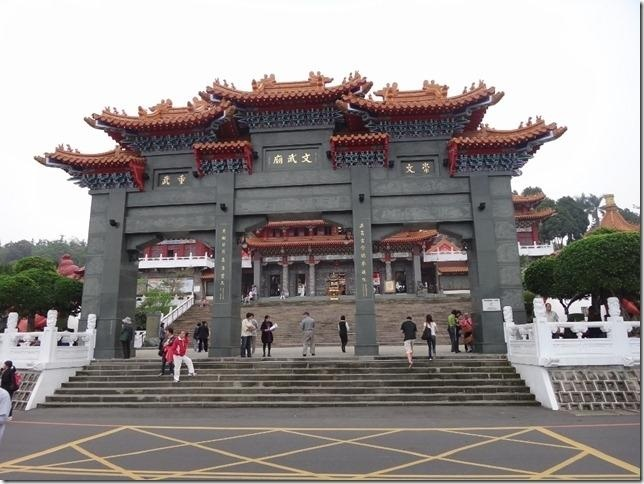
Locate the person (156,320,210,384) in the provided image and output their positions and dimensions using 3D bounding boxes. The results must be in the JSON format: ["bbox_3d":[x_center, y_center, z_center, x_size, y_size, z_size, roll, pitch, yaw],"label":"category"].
[{"bbox_3d":[-4.354,3.395,15.814,0.739,1.471,1.097,-1,1,-34],"label":"person"}]

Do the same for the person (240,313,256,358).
[{"bbox_3d":[-2.425,3.068,17.394,0.515,1.462,1.103,-1,1,-8],"label":"person"}]

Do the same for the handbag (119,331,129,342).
[{"bbox_3d":[-6.623,3.228,17.801,0.360,0.424,0.255,0,-16,-6],"label":"handbag"}]

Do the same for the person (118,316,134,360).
[{"bbox_3d":[-6.675,3.342,18.136,0.435,1.367,0.821,-1,1,-20],"label":"person"}]

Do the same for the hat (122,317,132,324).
[{"bbox_3d":[-6.709,2.754,18.252,0.237,0.159,0.264,4,0,-13],"label":"hat"}]

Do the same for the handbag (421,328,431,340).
[{"bbox_3d":[3.126,2.793,15.879,0.244,0.367,0.293,0,1,12],"label":"handbag"}]
